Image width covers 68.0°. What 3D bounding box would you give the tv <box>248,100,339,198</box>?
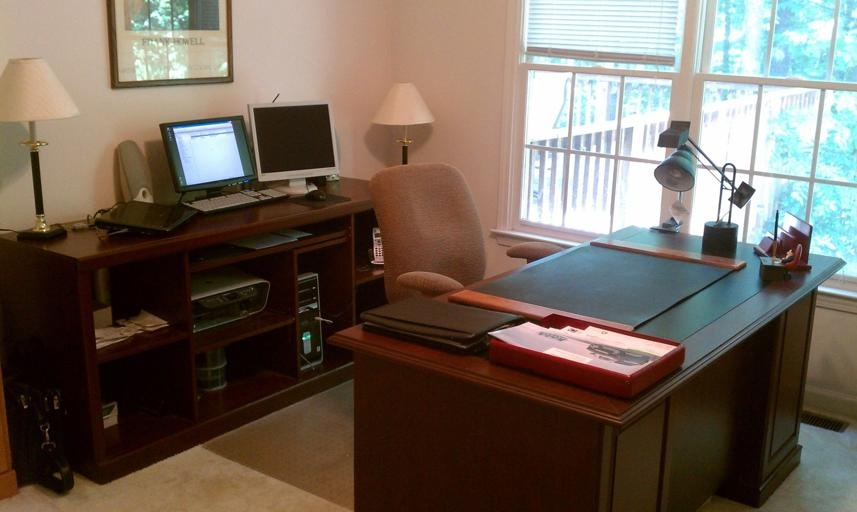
[{"bbox_3d":[-0.932,-0.709,4.248,0.649,0.547,0.333,-10,26,-36],"label":"tv"}]

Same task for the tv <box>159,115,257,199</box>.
[{"bbox_3d":[-1.418,-0.615,3.979,0.558,0.376,0.107,-16,14,-37],"label":"tv"}]

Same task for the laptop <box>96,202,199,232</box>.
[{"bbox_3d":[-1.600,-0.215,3.560,0.535,0.113,0.393,-4,17,-12],"label":"laptop"}]

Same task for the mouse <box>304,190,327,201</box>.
[{"bbox_3d":[-0.730,-0.382,4.113,0.110,0.034,0.080,8,15,33],"label":"mouse"}]

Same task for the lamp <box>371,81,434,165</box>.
[{"bbox_3d":[-0.203,-0.992,4.874,0.480,0.628,0.499,0,18,-1],"label":"lamp"}]

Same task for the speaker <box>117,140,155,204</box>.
[{"bbox_3d":[-1.781,-0.492,3.844,0.126,0.379,0.229,1,16,41],"label":"speaker"}]
